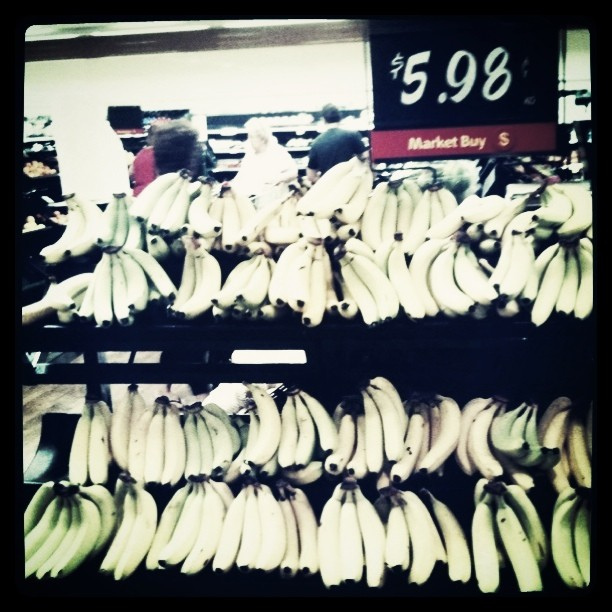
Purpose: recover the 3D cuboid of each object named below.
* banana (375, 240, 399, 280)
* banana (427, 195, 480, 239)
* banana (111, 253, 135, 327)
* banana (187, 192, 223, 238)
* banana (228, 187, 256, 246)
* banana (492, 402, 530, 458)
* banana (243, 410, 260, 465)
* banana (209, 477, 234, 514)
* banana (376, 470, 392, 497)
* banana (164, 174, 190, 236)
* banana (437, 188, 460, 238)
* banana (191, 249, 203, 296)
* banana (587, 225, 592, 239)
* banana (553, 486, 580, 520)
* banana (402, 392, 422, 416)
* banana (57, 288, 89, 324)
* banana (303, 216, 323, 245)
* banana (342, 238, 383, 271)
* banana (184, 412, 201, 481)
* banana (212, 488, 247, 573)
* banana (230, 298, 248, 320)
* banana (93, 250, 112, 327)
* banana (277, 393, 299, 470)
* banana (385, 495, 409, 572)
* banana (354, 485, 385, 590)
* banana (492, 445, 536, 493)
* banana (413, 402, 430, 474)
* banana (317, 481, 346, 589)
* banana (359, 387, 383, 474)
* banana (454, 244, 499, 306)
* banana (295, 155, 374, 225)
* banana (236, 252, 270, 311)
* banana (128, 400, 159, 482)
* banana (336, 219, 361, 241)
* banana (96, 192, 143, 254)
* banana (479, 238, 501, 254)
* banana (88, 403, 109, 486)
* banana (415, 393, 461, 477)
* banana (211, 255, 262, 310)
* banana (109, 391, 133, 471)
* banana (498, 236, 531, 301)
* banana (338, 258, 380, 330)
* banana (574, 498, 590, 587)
[{"bbox_3d":[0.285,-0.188,2.664,0.041,0.204,0.062,4,-6,29],"label":"banana"},{"bbox_3d":[0.517,-0.314,2.618,0.038,0.137,0.044,39,7,-34],"label":"banana"},{"bbox_3d":[-0.643,-0.052,2.703,0.079,0.312,0.067,-3,-3,18],"label":"banana"},{"bbox_3d":[-0.344,-0.285,2.689,0.104,0.222,0.061,-21,-29,3],"label":"banana"},{"bbox_3d":[-0.208,-0.318,2.588,0.075,0.276,0.063,-2,-2,-16],"label":"banana"},{"bbox_3d":[0.716,0.447,2.686,0.123,0.080,0.268,-15,18,18],"label":"banana"},{"bbox_3d":[-0.189,0.448,2.650,0.038,0.209,0.062,2,-2,9],"label":"banana"},{"bbox_3d":[-0.293,0.649,2.673,0.046,0.153,0.043,-25,-5,-3],"label":"banana"},{"bbox_3d":[0.272,0.620,2.635,0.043,0.094,0.026,0,-3,2],"label":"banana"},{"bbox_3d":[-0.447,-0.332,2.647,0.056,0.252,0.075,15,2,0],"label":"banana"},{"bbox_3d":[0.491,-0.327,2.621,0.040,0.151,0.036,-21,-1,6],"label":"banana"},{"bbox_3d":[-0.381,-0.116,2.663,0.045,0.171,0.030,2,1,9],"label":"banana"},{"bbox_3d":[0.972,-0.251,2.597,0.020,0.032,0.013,-4,6,-23],"label":"banana"},{"bbox_3d":[0.898,0.677,2.609,0.064,0.117,0.029,32,-2,20],"label":"banana"},{"bbox_3d":[0.366,0.341,2.636,0.048,0.081,0.018,36,2,18],"label":"banana"},{"bbox_3d":[-0.818,0.003,2.646,0.026,0.096,0.058,30,-17,-5],"label":"banana"},{"bbox_3d":[0.022,-0.261,2.628,0.047,0.109,0.031,-8,2,-6],"label":"banana"},{"bbox_3d":[0.195,-0.193,2.679,0.185,0.071,0.049,44,7,-1],"label":"banana"},{"bbox_3d":[-0.394,0.489,2.684,0.052,0.246,0.071,-2,-5,4],"label":"banana"},{"bbox_3d":[-0.250,0.793,2.673,0.066,0.335,0.098,13,-17,3],"label":"banana"},{"bbox_3d":[-0.232,0.016,2.623,0.035,0.085,0.027,-4,13,-3],"label":"banana"},{"bbox_3d":[-0.708,-0.055,2.650,0.059,0.282,0.075,4,-1,-38],"label":"banana"},{"bbox_3d":[-0.061,0.441,2.677,0.059,0.294,0.091,4,-10,-8],"label":"banana"},{"bbox_3d":[0.321,0.813,2.671,0.069,0.082,0.313,0,28,8],"label":"banana"},{"bbox_3d":[0.229,0.808,2.664,0.071,0.339,0.098,-4,-4,-9],"label":"banana"},{"bbox_3d":[0.723,0.565,2.620,0.038,0.155,0.039,-27,-13,-32],"label":"banana"},{"bbox_3d":[0.413,0.444,2.657,0.057,0.269,0.047,9,-1,-22],"label":"banana"},{"bbox_3d":[0.087,0.789,2.665,0.081,0.393,0.104,11,-8,-31],"label":"banana"},{"bbox_3d":[0.234,0.445,2.632,0.057,0.343,0.098,-5,0,12],"label":"banana"},{"bbox_3d":[0.590,-0.100,2.610,0.044,0.181,0.081,-22,-1,-11],"label":"banana"},{"bbox_3d":[0.120,-0.396,2.667,0.163,0.312,0.071,37,-2,-1],"label":"banana"},{"bbox_3d":[-0.172,-0.064,2.614,0.059,0.230,0.096,1,-17,31],"label":"banana"},{"bbox_3d":[-0.584,0.470,2.720,0.096,0.339,0.081,12,-7,-12],"label":"banana"},{"bbox_3d":[0.159,-0.274,2.663,0.054,0.049,0.107,-29,5,43],"label":"banana"},{"bbox_3d":[-0.649,-0.287,2.695,0.103,0.269,0.085,6,10,-10],"label":"banana"},{"bbox_3d":[0.634,-0.208,2.619,0.053,0.055,0.036,-7,3,9],"label":"banana"},{"bbox_3d":[-0.724,0.490,2.673,0.059,0.296,0.065,-3,-3,2],"label":"banana"},{"bbox_3d":[0.460,0.448,2.630,0.157,0.284,0.038,-3,6,-16],"label":"banana"},{"bbox_3d":[-0.239,-0.077,2.631,0.046,0.165,0.078,49,-18,-18],"label":"banana"},{"bbox_3d":[-0.656,0.436,2.715,0.074,0.289,0.082,4,0,-23],"label":"banana"},{"bbox_3d":[0.723,-0.121,2.655,0.066,0.316,0.100,12,-9,-2],"label":"banana"},{"bbox_3d":[0.187,-0.038,2.666,0.076,0.339,0.099,-19,-3,21],"label":"banana"},{"bbox_3d":[0.951,0.815,2.605,0.051,0.298,0.077,-1,-1,-28],"label":"banana"}]
